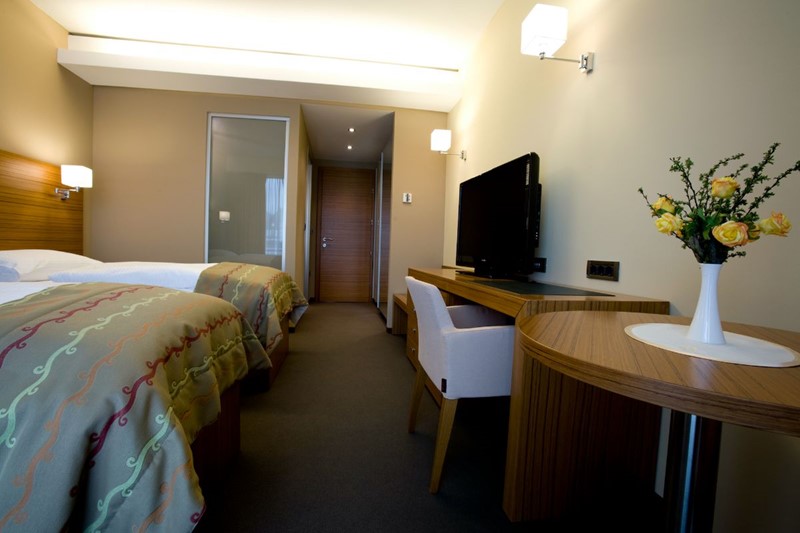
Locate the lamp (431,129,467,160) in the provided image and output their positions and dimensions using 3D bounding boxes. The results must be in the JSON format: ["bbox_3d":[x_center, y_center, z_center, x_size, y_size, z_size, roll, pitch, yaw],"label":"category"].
[{"bbox_3d":[0.429,-1.243,5.290,0.443,0.396,0.239,-1,6,-9],"label":"lamp"}]

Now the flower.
[{"bbox_3d":[1.416,-0.247,2.422,0.468,0.601,0.650,3,1,-4],"label":"flower"}]

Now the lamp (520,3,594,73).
[{"bbox_3d":[1.030,-1.409,3.317,0.525,0.388,0.305,0,5,-17],"label":"lamp"}]

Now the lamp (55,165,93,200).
[{"bbox_3d":[-2.950,-0.760,4.752,0.293,0.302,0.294,1,1,22],"label":"lamp"}]
